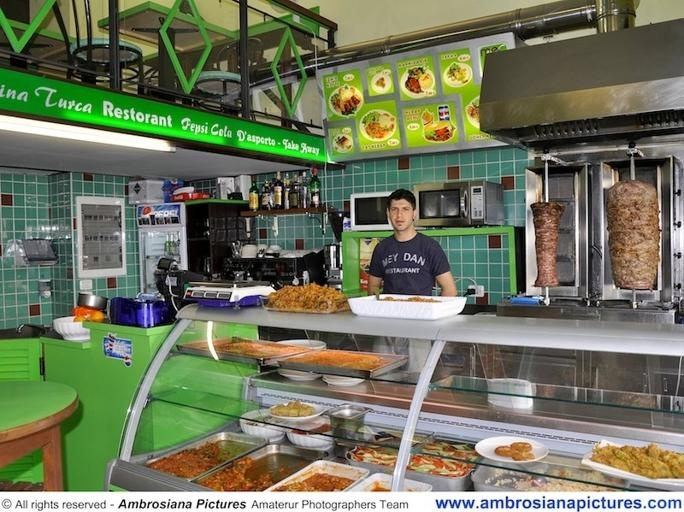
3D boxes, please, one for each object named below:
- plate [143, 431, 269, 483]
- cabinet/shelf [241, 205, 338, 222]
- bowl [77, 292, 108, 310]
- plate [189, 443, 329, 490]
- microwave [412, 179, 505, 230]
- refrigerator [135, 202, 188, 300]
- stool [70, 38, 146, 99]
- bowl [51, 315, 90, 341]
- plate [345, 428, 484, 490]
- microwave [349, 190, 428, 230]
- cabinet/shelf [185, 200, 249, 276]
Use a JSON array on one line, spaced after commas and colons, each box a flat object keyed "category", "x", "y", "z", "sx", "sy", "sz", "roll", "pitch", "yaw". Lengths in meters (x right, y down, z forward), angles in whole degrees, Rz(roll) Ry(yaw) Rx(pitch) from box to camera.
[{"category": "plate", "x": -0.710, "y": 1.055, "z": 2.834, "sx": 0.534, "sy": 0.034, "sz": 0.390, "roll": -9, "pitch": 9, "yaw": -43}, {"category": "cabinet/shelf", "x": -0.689, "y": -0.518, "z": 6.521, "sx": 1.386, "sy": 0.154, "sz": 0.531, "roll": 0, "pitch": 4, "yaw": 42}, {"category": "bowl", "x": -1.985, "y": 0.370, "z": 4.242, "sx": 0.204, "sy": 0.122, "sz": 0.205, "roll": -3, "pitch": 3, "yaw": 0}, {"category": "plate", "x": -0.370, "y": 1.060, "z": 2.658, "sx": 0.357, "sy": 0.060, "sz": 0.543, "roll": 4, "pitch": 5, "yaw": 35}, {"category": "microwave", "x": 1.182, "y": -0.486, "z": 5.216, "sx": 0.843, "sy": 0.409, "sz": 0.594, "roll": 2, "pitch": 4, "yaw": 44}, {"category": "refrigerator", "x": -2.275, "y": -0.089, "z": 7.359, "sx": 0.844, "sy": 1.156, "sz": 0.752, "roll": -1, "pitch": 2, "yaw": 19}, {"category": "stool", "x": -2.399, "y": -1.953, "z": 5.498, "sx": 0.472, "sy": 0.415, "sz": 0.449, "roll": -9, "pitch": 17, "yaw": 27}, {"category": "bowl", "x": -2.096, "y": 0.553, "z": 4.103, "sx": 0.227, "sy": 0.089, "sz": 0.218, "roll": 0, "pitch": 0, "yaw": 0}, {"category": "plate", "x": 0.326, "y": 0.906, "z": 2.415, "sx": 0.464, "sy": 0.086, "sz": 0.258, "roll": 1, "pitch": 2, "yaw": 18}, {"category": "microwave", "x": 0.259, "y": -0.499, "z": 5.847, "sx": 0.607, "sy": 0.418, "sz": 0.384, "roll": -5, "pitch": 9, "yaw": -28}, {"category": "cabinet/shelf", "x": -1.579, "y": -0.240, "z": 6.768, "sx": 0.820, "sy": 0.644, "sz": 0.431, "roll": -4, "pitch": 3, "yaw": -14}]
